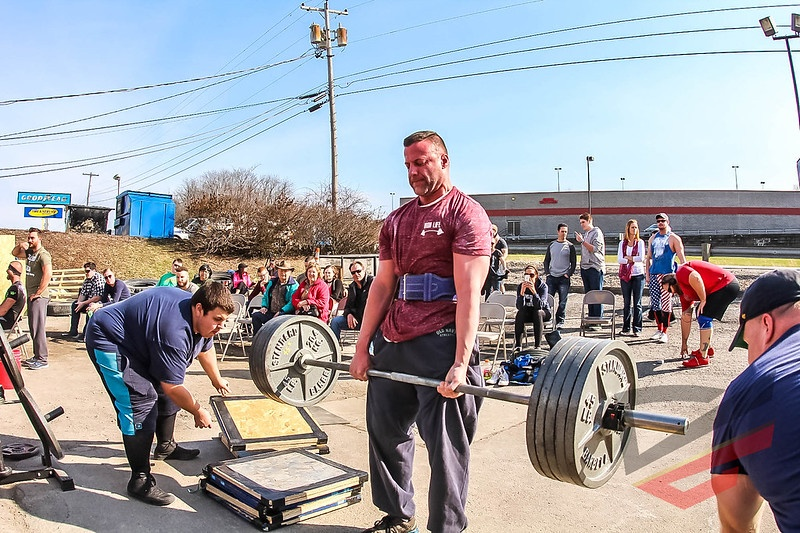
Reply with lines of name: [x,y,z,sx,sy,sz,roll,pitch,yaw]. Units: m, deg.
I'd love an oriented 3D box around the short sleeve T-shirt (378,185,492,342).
short sleeve T-shirt: [0.220,0.007,4.023,0.934,1.200,0.459,-4,-10,41]

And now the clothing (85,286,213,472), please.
clothing: [-1.909,0.707,4.841,1.072,1.172,0.468,2,3,-20]

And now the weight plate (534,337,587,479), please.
weight plate: [0.983,0.895,3.718,0.246,0.831,0.817,3,-3,28]

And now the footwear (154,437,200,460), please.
footwear: [-1.980,1.609,5.468,0.423,0.271,0.160,0,1,-14]

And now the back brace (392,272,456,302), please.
back brace: [0.168,0.146,4.058,0.396,0.196,0.080,3,3,21]

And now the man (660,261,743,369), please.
man: [3.726,0.581,7.563,0.980,1.251,0.671,-5,-8,39]

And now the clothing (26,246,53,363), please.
clothing: [-5.153,0.559,8.666,0.368,1.828,0.822,3,-38,-34]

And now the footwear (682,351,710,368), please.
footwear: [3.769,1.196,7.718,0.415,0.185,0.141,2,-7,-15]

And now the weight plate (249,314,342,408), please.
weight plate: [-0.910,0.864,5.297,0.999,1.021,0.299,10,-10,-43]
